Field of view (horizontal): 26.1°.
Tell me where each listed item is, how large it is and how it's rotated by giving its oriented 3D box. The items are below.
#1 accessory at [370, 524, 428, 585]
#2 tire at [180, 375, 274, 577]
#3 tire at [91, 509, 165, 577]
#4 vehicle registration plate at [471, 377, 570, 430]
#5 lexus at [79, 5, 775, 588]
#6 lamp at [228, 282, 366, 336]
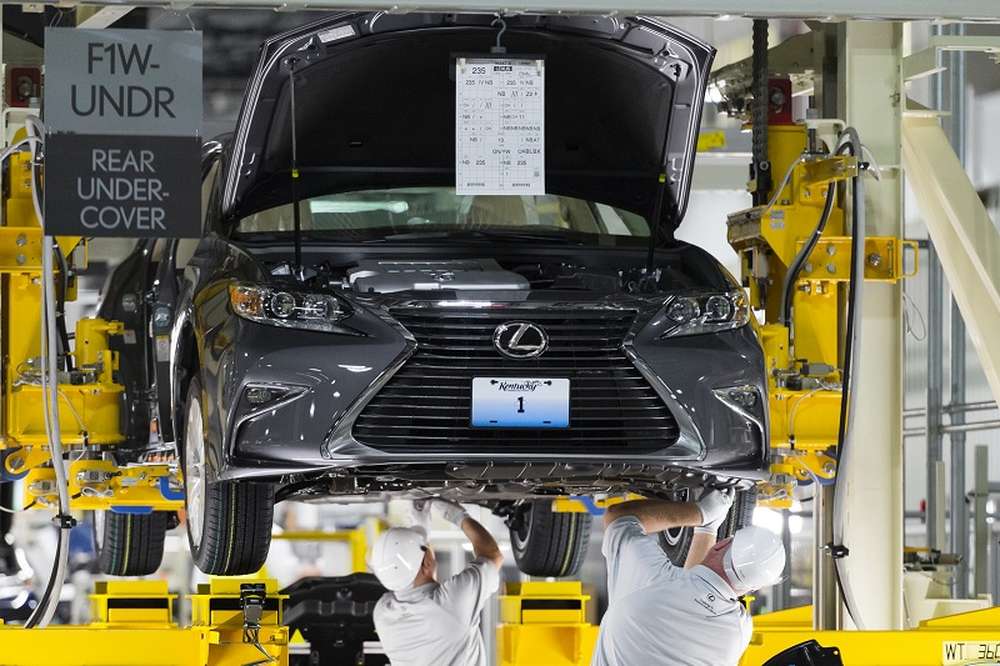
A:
[{"bbox_3d":[-0.650,1.481,14.388,0.326,0.389,0.350,-14,-48,24],"label":"accessory"},{"bbox_3d":[-1.725,0.887,13.801,0.347,0.903,1.057,2,-39,-18],"label":"tire"},{"bbox_3d":[-2.714,1.522,15.858,0.254,0.543,0.592,-1,5,-33],"label":"tire"},{"bbox_3d":[0.121,0.424,13.549,0.751,0.337,0.072,2,-2,-34],"label":"vehicle registration plate"},{"bbox_3d":[-0.816,-0.699,16.531,4.769,2.937,6.481,-1,9,-19],"label":"lexus"},{"bbox_3d":[-1.126,-0.140,13.760,1.197,0.334,0.288,5,-10,-1],"label":"lamp"}]
